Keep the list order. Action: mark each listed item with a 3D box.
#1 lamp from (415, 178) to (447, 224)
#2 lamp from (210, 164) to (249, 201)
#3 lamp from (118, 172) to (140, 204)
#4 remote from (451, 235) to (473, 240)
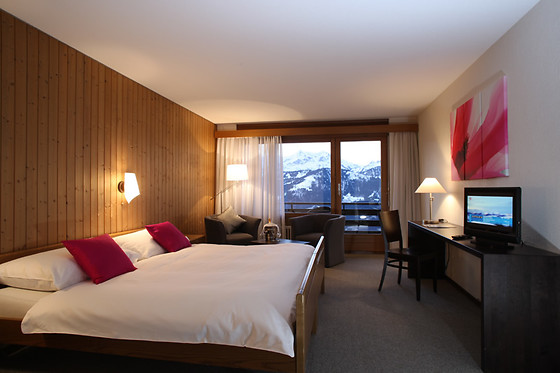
[{"bbox_3d":[2.294,0.209,5.824,0.458,0.679,0.465,-1,2,-28],"label":"lamp"},{"bbox_3d":[-0.913,-0.208,7.590,0.583,0.494,0.354,-4,-3,40],"label":"lamp"},{"bbox_3d":[-2.049,0.017,5.321,0.216,0.438,0.393,0,13,4],"label":"lamp"},{"bbox_3d":[2.102,0.595,4.411,0.179,0.024,0.085,-2,0,-10],"label":"remote"}]
